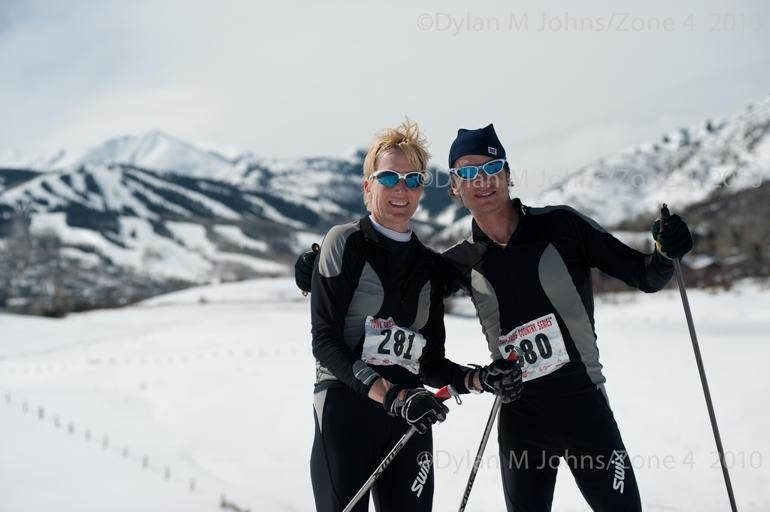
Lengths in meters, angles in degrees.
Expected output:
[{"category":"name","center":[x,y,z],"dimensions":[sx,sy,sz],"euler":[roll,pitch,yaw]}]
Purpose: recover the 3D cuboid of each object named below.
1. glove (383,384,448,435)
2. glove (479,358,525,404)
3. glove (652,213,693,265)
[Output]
[{"category":"glove","center":[0.426,2.027,12.424],"dimensions":[0.620,0.742,0.352],"euler":[-50,5,-4]},{"category":"glove","center":[1.646,1.684,12.786],"dimensions":[0.629,0.492,0.325],"euler":[11,49,26]},{"category":"glove","center":[4.000,-0.253,12.813],"dimensions":[0.531,0.640,0.263],"euler":[2,12,16]}]
